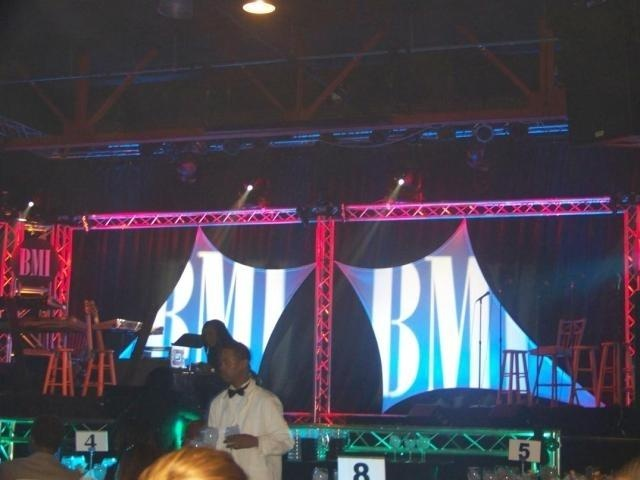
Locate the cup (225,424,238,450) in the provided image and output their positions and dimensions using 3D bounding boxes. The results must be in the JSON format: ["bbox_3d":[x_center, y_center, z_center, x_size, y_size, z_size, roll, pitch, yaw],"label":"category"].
[{"bbox_3d":[-1.046,2.335,12.796,0.199,0.231,0.203,5,-15,1],"label":"cup"}]

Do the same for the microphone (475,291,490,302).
[{"bbox_3d":[2.915,1.049,19.400,0.137,0.140,0.502,11,12,18],"label":"microphone"}]

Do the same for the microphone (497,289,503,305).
[{"bbox_3d":[3.286,1.052,19.812,0.206,0.226,0.058,-4,-11,41],"label":"microphone"}]

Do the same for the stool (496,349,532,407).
[{"bbox_3d":[3.429,2.491,19.078,0.668,1.022,0.665,6,0,-15],"label":"stool"}]

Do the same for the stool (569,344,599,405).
[{"bbox_3d":[4.515,2.339,18.465,0.481,1.307,1.769,-2,-19,14],"label":"stool"}]

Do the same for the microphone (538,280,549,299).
[{"bbox_3d":[4.023,0.894,19.500,0.203,0.316,0.073,10,-7,26],"label":"microphone"}]

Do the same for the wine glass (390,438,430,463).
[{"bbox_3d":[1.213,2.875,14.675,0.528,0.358,0.360,-6,-24,16],"label":"wine glass"}]
